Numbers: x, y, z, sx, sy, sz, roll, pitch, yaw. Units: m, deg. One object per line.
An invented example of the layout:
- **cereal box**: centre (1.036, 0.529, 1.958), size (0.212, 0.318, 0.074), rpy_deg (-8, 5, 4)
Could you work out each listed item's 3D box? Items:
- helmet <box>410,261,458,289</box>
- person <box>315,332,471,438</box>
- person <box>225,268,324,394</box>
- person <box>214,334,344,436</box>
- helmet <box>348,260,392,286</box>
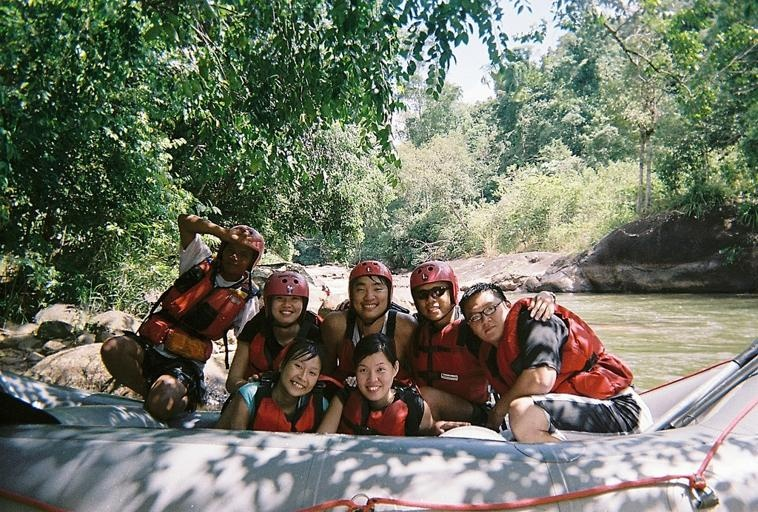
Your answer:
- **helmet**: centre (0.508, 0.175, 4.661), size (0.261, 0.337, 0.259), rpy_deg (-5, -6, 24)
- **person**: centre (0.038, 1.118, 4.117), size (1.393, 0.920, 0.679), rpy_deg (-1, -9, 21)
- **person**: centre (-0.983, 0.687, 4.624), size (0.817, 1.163, 0.531), rpy_deg (22, 2, 24)
- **person**: centre (-0.781, 1.066, 4.139), size (0.622, 0.406, 0.968), rpy_deg (10, 32, 21)
- **helmet**: centre (-0.073, 0.146, 4.742), size (0.240, 0.319, 0.246), rpy_deg (-1, -5, 5)
